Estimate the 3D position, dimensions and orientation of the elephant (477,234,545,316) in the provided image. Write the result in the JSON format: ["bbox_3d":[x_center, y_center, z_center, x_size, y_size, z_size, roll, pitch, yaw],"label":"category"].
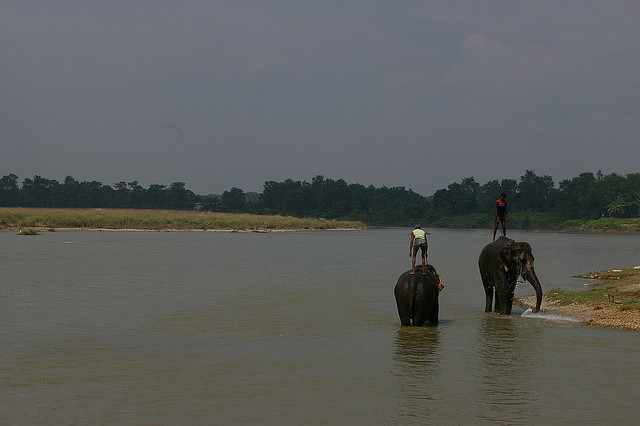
[{"bbox_3d":[9.125,2.601,44.462,2.167,3.430,4.226,-1,-1,-30],"label":"elephant"}]

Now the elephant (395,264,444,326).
[{"bbox_3d":[4.096,3.431,40.675,1.521,2.384,1.951,6,13,29],"label":"elephant"}]
